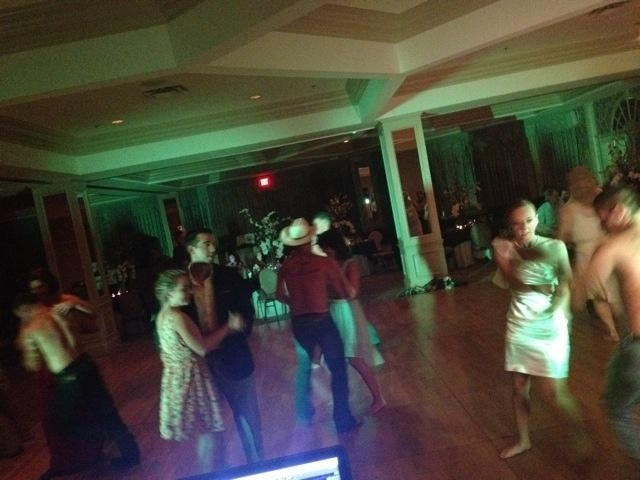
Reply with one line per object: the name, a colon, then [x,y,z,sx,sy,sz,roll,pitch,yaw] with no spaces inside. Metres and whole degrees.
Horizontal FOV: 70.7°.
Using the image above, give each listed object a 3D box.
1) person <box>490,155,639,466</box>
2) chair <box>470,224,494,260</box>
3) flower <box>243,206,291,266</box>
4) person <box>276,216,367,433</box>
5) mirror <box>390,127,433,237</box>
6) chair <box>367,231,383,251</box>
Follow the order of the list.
person: [1.927,0.663,3.519,1.071,2.060,0.761,-6,8,32]
chair: [3.430,0.004,9.606,0.539,0.720,0.716,-4,-3,2]
flower: [-1.035,-0.067,8.325,1.087,1.187,0.314,-1,5,6]
person: [-0.028,0.833,4.278,0.739,2.071,0.421,-10,7,7]
mirror: [1.826,-1.153,9.019,0.441,2.108,0.225,-10,7,9]
chair: [1.102,0.010,9.041,0.276,0.373,0.370,2,4,-3]
